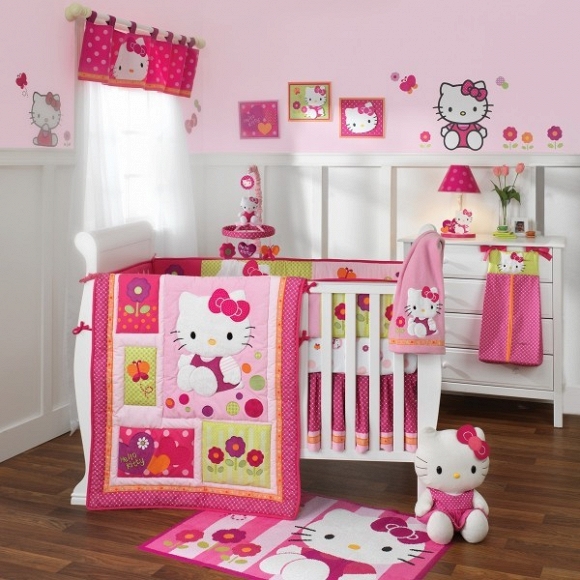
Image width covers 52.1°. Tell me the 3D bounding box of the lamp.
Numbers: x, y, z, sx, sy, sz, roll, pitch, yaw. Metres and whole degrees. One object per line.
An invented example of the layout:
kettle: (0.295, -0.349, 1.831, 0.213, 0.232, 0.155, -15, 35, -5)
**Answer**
lamp: (0.905, -0.484, 3.178, 0.214, 0.398, 0.297, 1, 6, 13)

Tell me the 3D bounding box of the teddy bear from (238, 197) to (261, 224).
teddy bear: (-0.210, -0.407, 3.081, 0.149, 0.179, 0.131, 0, 0, -12)

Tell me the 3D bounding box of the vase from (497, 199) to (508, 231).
vase: (1.130, -0.399, 3.153, 0.050, 0.163, 0.142, 2, 6, 19)

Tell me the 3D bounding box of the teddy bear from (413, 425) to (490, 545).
teddy bear: (0.500, 0.600, 1.873, 0.305, 0.402, 0.329, -2, -5, 9)

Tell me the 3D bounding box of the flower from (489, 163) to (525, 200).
flower: (1.140, -0.568, 3.125, 0.163, 0.205, 0.176, 1, 6, 18)

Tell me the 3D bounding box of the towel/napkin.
towel/napkin: (0.417, 0.009, 1.921, 0.200, 0.406, 0.124, -1, 6, -7)

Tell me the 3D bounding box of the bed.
bed: (-0.005, 0.274, 2.212, 1.372, 0.826, 0.757, -5, -1, 21)
